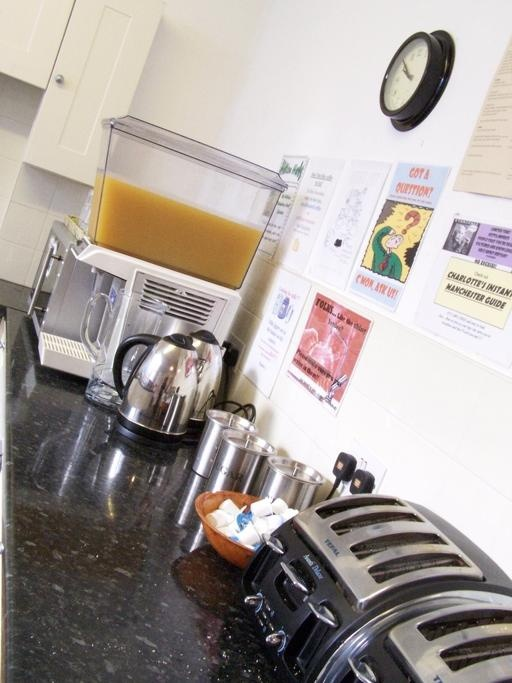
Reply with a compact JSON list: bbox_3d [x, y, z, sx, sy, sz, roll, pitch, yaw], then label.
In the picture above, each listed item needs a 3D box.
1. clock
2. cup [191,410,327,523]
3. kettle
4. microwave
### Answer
[{"bbox_3d":[0.304,-0.505,0.928,0.061,0.178,0.188,2,10,-10],"label":"clock"},{"bbox_3d":[0.010,0.220,0.932,0.229,0.156,0.130,39,18,22],"label":"cup"},{"bbox_3d":[-0.189,0.076,1.133,0.281,0.306,0.183,13,16,19],"label":"kettle"},{"bbox_3d":[-0.543,-0.170,1.392,0.201,0.299,0.405,13,49,-23],"label":"microwave"}]
